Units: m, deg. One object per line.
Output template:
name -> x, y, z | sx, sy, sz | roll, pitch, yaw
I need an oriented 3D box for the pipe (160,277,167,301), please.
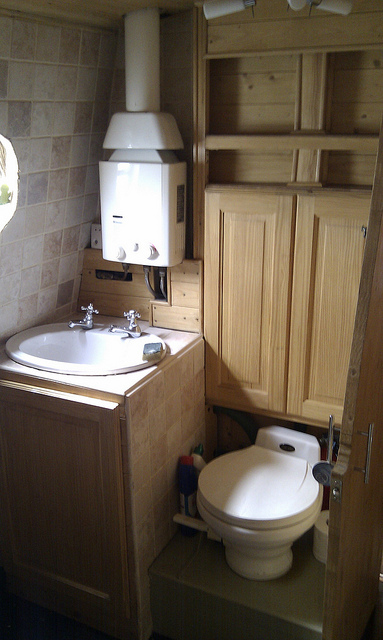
pipe -> -0.120, -0.133, 1.965 | 0.024, 0.095, 0.038 | -2, 9, -10

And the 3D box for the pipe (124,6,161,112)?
pipe -> -0.178, -0.914, 1.640 | 0.129, 0.328, 0.126 | -1, 9, -1

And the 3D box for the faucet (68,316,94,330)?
faucet -> -0.451, 0.015, 1.896 | 0.142, 0.061, 0.039 | 0, 5, -45

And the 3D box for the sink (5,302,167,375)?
sink -> -0.377, 0.091, 1.713 | 0.603, 0.222, 0.497 | 4, 12, 22

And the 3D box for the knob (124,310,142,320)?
knob -> -0.239, -0.022, 1.845 | 0.045, 0.025, 0.045 | -7, 12, -40

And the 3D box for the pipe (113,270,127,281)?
pipe -> -0.306, -0.196, 2.041 | 0.038, 0.052, 0.099 | -9, 13, -40

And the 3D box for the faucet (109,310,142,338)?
faucet -> -0.246, 0.011, 1.821 | 0.126, 0.151, 0.076 | 0, 12, 1

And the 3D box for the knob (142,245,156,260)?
knob -> -0.167, -0.259, 1.779 | 0.040, 0.056, 0.038 | 9, 1, 6

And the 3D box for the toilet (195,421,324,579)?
toilet -> 0.249, 0.690, 1.663 | 0.411, 0.404, 0.576 | 2, 11, 18

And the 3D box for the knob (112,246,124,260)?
knob -> -0.292, -0.266, 1.836 | 0.050, 0.049, 0.014 | 5, 10, 28
